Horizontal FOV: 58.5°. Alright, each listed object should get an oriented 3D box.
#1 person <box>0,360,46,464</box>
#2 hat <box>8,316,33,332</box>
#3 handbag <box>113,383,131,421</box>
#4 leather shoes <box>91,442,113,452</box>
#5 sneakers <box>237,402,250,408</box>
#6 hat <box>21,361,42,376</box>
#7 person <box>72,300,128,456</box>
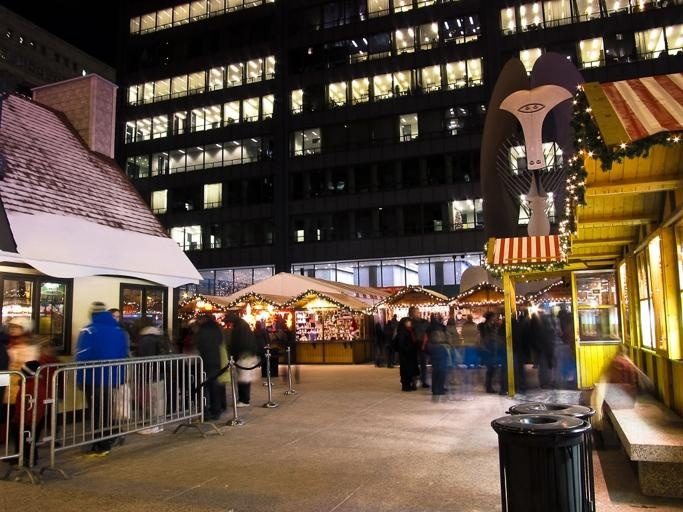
[{"bbox_3d":[-5.084,2.450,9.724,0.466,1.485,1.388,1,-10,-8],"label":"person"},{"bbox_3d":[-5.787,1.213,10.903,0.384,0.115,0.403,1,-13,32],"label":"hat"},{"bbox_3d":[-3.891,2.608,10.761,0.291,0.734,0.711,0,-2,-21],"label":"handbag"},{"bbox_3d":[-4.103,3.262,10.465,0.272,0.108,0.190,7,-13,-42],"label":"leather shoes"},{"bbox_3d":[-2.309,3.464,14.211,0.285,0.136,0.103,-3,-3,28],"label":"sneakers"},{"bbox_3d":[-4.967,1.791,9.723,0.165,0.177,0.163,14,19,21],"label":"hat"},{"bbox_3d":[-4.257,2.089,10.809,0.895,2.514,1.457,0,-2,-24],"label":"person"}]
